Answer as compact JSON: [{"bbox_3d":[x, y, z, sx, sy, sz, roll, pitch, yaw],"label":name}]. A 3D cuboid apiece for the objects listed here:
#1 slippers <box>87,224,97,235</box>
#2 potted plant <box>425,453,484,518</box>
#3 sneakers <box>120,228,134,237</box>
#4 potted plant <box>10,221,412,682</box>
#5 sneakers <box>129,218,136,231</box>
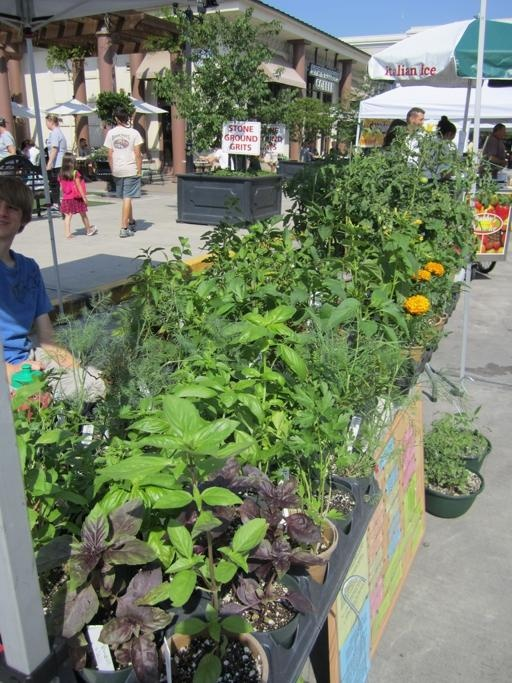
[{"bbox_3d":[-3.030,-2.043,9.276,0.138,0.141,0.364,2,30,4],"label":"slippers"},{"bbox_3d":[1.190,0.869,2.934,0.339,0.158,0.329,-8,20,-28],"label":"potted plant"},{"bbox_3d":[-2.268,-1.934,8.928,0.114,0.137,0.310,7,20,20],"label":"sneakers"},{"bbox_3d":[-0.037,0.176,1.171,0.713,0.272,0.893,1,31,4],"label":"potted plant"},{"bbox_3d":[-2.317,-2.192,9.455,0.105,0.126,0.301,2,33,-5],"label":"sneakers"}]
